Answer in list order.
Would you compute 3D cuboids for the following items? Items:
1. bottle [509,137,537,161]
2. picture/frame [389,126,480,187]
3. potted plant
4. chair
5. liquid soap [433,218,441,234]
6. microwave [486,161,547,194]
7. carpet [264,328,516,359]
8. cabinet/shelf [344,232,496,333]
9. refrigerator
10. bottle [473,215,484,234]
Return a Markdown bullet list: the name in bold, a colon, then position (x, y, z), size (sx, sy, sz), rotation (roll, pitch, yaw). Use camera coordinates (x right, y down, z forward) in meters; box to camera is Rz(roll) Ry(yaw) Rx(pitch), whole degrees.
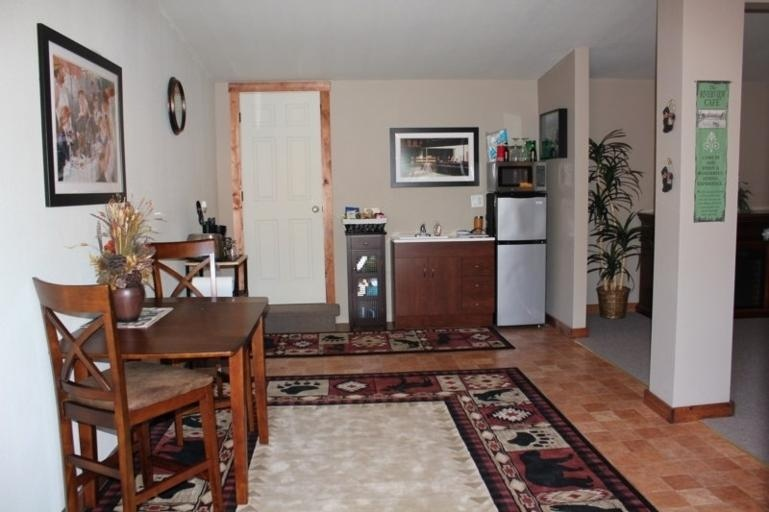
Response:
- **bottle**: position (1.674, -1.280, 6.614), size (0.385, 0.350, 0.197), rotation (0, 2, 7)
- **picture/frame**: position (0.599, -1.218, 6.846), size (1.145, 0.772, 0.032), rotation (8, -3, 35)
- **potted plant**: position (2.873, -0.407, 6.835), size (0.690, 2.278, 1.017), rotation (5, 16, 23)
- **chair**: position (-1.389, 0.774, 3.539), size (1.225, 1.507, 1.335), rotation (1, 14, 8)
- **liquid soap**: position (0.620, -0.334, 6.766), size (0.143, 0.210, 0.145), rotation (2, -1, 0)
- **microwave**: position (1.584, -0.840, 6.537), size (0.561, 0.337, 0.398), rotation (0, 3, -1)
- **carpet**: position (0.020, 0.948, 6.062), size (2.662, 0.061, 0.833), rotation (-2, 13, -3)
- **cabinet/shelf**: position (0.455, 0.339, 6.437), size (1.253, 0.975, 0.463), rotation (0, 1, -1)
- **refrigerator**: position (1.590, 0.059, 6.410), size (0.576, 1.579, 0.353), rotation (0, 15, 4)
- **bottle**: position (1.175, -0.385, 6.817), size (0.133, 0.176, 0.264), rotation (1, 14, 9)
